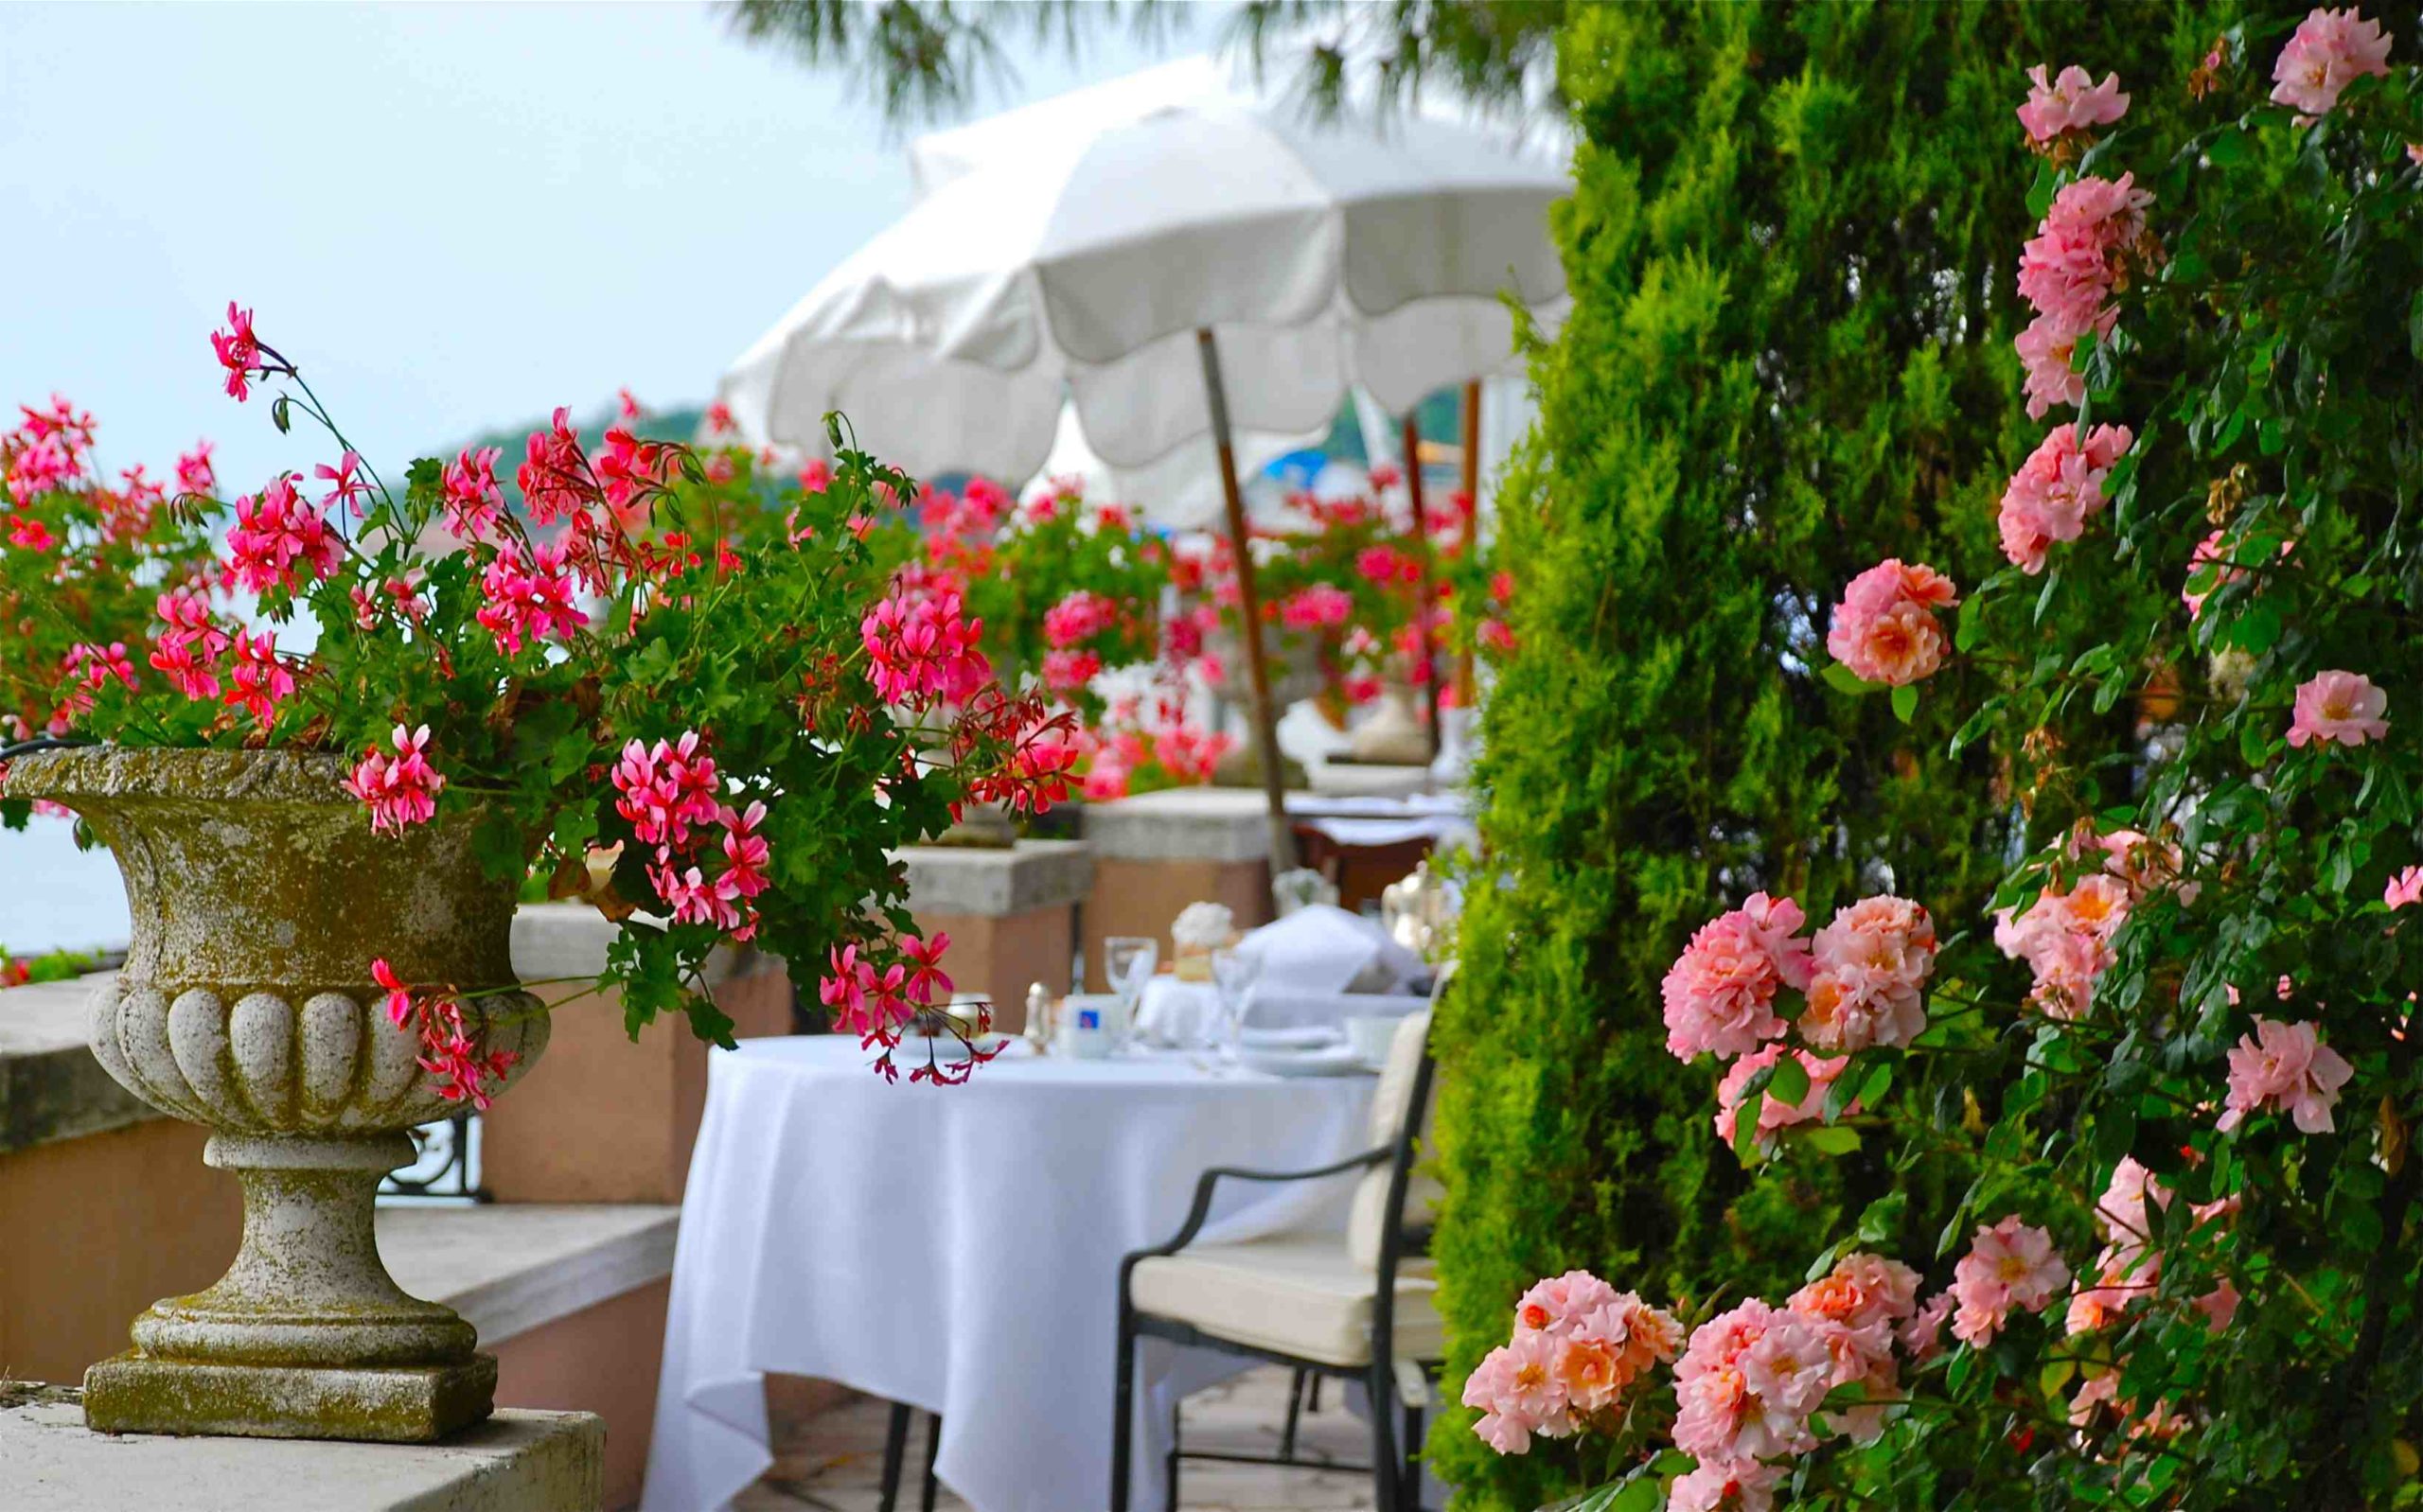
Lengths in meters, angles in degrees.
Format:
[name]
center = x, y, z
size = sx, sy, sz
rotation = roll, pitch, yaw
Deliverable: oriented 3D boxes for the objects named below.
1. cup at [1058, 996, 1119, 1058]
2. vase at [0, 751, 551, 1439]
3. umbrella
[cup]
center = -0.256, 0.592, 6.795
size = 0.104, 0.127, 0.117
rotation = 1, 3, 5
[vase]
center = -1.455, 0.560, 5.179
size = 0.811, 1.106, 0.923
rotation = 1, -1, -10
[umbrella]
center = 0.066, -0.715, 7.981
size = 1.744, 1.975, 1.793
rotation = -4, 18, 43
